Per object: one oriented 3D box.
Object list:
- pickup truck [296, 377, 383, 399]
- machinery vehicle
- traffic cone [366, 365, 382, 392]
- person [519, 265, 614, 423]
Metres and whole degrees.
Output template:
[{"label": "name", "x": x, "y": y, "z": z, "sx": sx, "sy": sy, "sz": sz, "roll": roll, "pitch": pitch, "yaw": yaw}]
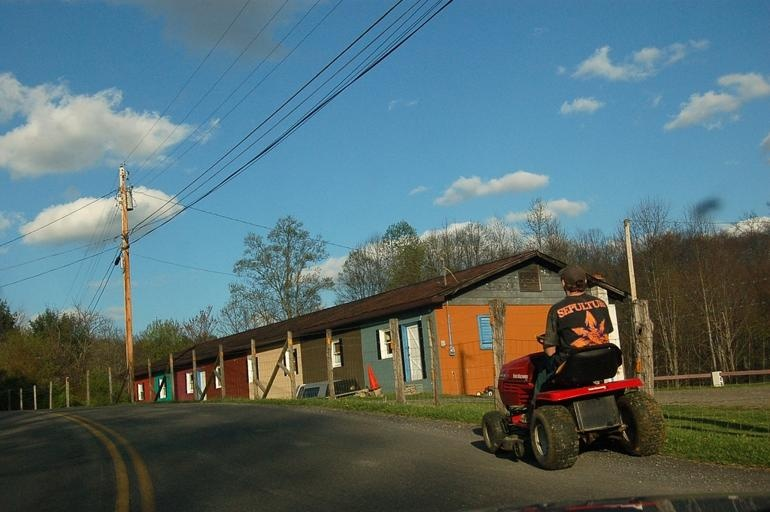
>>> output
[{"label": "pickup truck", "x": -2.089, "y": 5.534, "z": 28.890, "sx": 2.365, "sy": 0.609, "sz": 1.485, "roll": -4, "pitch": -8, "yaw": 27}, {"label": "machinery vehicle", "x": 3.408, "y": 2.867, "z": 13.954, "sx": 2.132, "sy": 2.166, "sz": 3.198, "roll": 4, "pitch": -7, "yaw": -27}, {"label": "traffic cone", "x": -0.453, "y": 4.889, "z": 28.254, "sx": 0.461, "sy": 1.142, "sz": 1.221, "roll": -2, "pitch": -13, "yaw": -2}, {"label": "person", "x": 3.474, "y": 1.346, "z": 13.066, "sx": 1.497, "sy": 2.370, "sz": 0.763, "roll": -7, "pitch": -13, "yaw": 15}]
